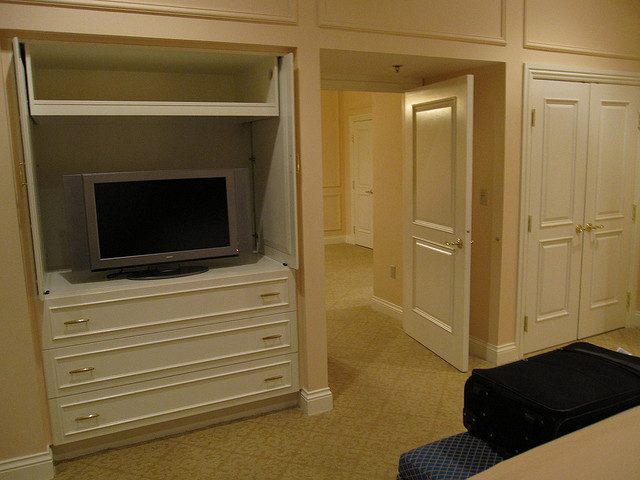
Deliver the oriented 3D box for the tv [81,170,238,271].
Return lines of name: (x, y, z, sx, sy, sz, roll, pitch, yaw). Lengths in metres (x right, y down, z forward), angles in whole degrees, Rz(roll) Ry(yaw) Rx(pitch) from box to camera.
tv: (-1.185, -0.163, 3.516, 0.700, 0.469, 0.076, -6, 9, -20)

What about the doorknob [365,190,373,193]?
doorknob: (0.894, -0.879, 8.816, 0.113, 0.044, 0.068, 9, 34, 3)

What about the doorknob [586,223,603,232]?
doorknob: (2.609, -0.127, 4.655, 0.097, 0.052, 0.098, -7, -10, 18)
